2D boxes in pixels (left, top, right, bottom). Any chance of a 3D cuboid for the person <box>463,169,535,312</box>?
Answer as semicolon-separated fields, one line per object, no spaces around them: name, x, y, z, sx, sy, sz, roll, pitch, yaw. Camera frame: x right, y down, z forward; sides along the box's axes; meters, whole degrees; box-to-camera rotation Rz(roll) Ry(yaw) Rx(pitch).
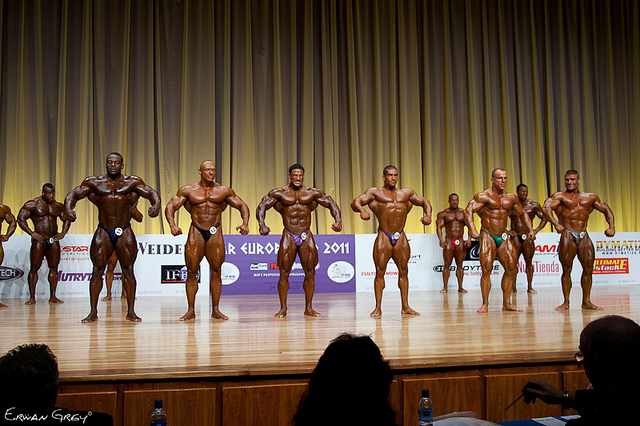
person;3.120;0.470;10.864;1.160;2.473;0.414;-1;-5;-10

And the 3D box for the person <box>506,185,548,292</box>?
person;4.259;0.567;13.021;0.824;2.444;0.741;3;18;24

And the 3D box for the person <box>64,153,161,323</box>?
person;-3.332;0.398;10.051;1.417;2.729;0.530;-2;-5;-6

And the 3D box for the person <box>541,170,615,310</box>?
person;4.646;0.460;11.100;1.085;2.512;1.322;-4;-6;27

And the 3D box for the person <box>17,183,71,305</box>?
person;-5.458;0.605;12.203;0.894;2.340;1.232;1;-6;-28

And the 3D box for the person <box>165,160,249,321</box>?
person;-1.883;0.459;10.372;1.311;2.644;0.512;-2;-5;-2

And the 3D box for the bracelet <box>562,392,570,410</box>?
bracelet;2.621;2.001;6.611;0.081;0.148;0.148;0;-44;8

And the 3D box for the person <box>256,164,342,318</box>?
person;-0.373;0.446;10.599;1.385;2.626;0.441;-1;-5;-8
